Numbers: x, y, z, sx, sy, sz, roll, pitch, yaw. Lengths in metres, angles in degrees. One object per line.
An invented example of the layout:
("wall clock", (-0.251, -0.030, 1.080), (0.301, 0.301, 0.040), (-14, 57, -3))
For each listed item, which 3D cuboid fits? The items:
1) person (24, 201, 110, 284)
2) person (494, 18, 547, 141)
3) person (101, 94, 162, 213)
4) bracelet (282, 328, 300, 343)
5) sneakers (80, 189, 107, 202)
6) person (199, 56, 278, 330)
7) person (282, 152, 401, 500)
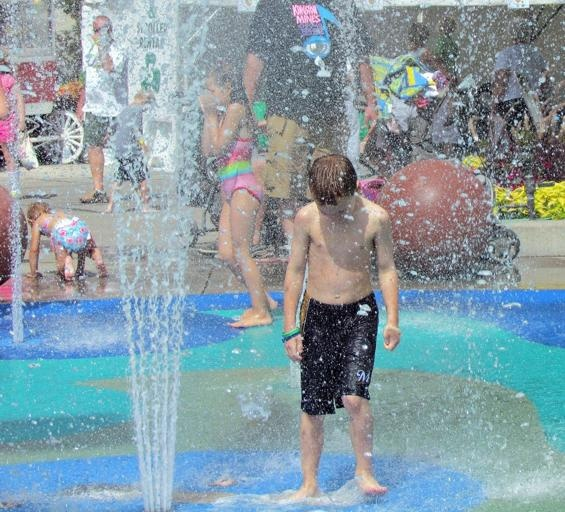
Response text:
("person", (-1.899, -0.097, 8.372), (0.791, 0.580, 0.426), (23, 28, 38))
("person", (2.652, -1.967, 10.837), (0.509, 0.549, 1.705), (-5, -38, 14))
("person", (-1.685, -1.119, 10.926), (0.550, 1.302, 0.871), (-2, 13, -8))
("bracelet", (0.042, 0.382, 4.694), (0.071, 0.037, 0.062), (-34, 4, -20))
("sneakers", (-2.335, -0.714, 12.079), (0.383, 0.214, 0.137), (3, 9, -9))
("person", (-0.330, -0.373, 6.899), (0.413, 1.731, 0.685), (-4, 13, -18))
("person", (0.276, 0.320, 4.658), (0.541, 1.526, 0.473), (0, 12, 2))
